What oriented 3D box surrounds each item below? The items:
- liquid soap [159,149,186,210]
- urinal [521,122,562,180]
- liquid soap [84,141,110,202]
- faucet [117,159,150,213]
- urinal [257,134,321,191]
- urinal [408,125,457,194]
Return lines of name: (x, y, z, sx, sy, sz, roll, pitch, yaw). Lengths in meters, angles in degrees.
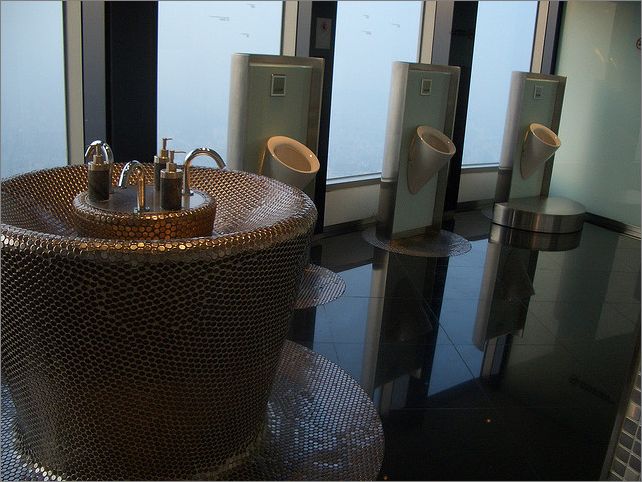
liquid soap: (-0.594, -0.218, 2.081, 0.092, 0.161, 0.150, -5, 23, -17)
urinal: (2.223, -0.932, 5.431, 0.354, 0.552, 0.373, 14, 18, 34)
liquid soap: (-0.875, -0.268, 2.148, 0.135, 0.293, 0.101, 20, 19, 37)
faucet: (-0.749, -0.217, 2.114, 0.070, 0.216, 0.144, 11, 13, 29)
urinal: (-0.218, -0.551, 3.599, 0.419, 0.293, 0.452, 5, 40, -41)
urinal: (0.860, -0.682, 4.416, 0.354, 0.526, 0.451, -3, 16, -25)
